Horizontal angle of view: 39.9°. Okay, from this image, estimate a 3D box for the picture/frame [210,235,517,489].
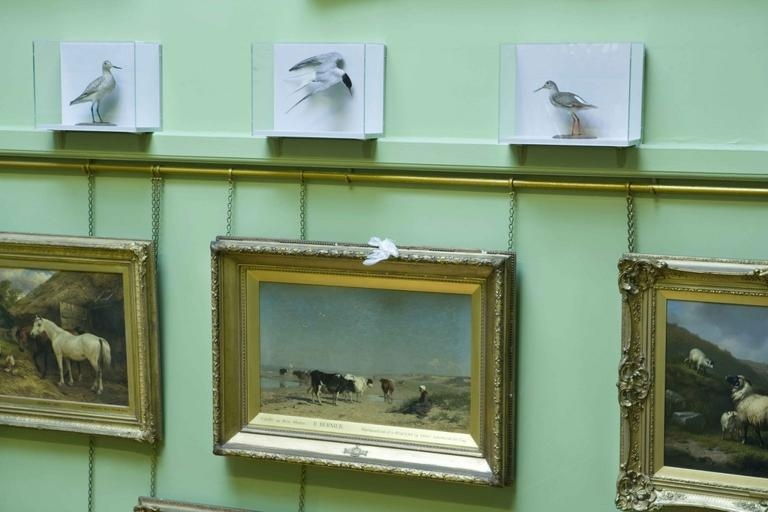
[{"bbox_3d":[-0.034,0.350,3.781,0.805,0.626,0.095,1,5,12],"label":"picture/frame"}]
